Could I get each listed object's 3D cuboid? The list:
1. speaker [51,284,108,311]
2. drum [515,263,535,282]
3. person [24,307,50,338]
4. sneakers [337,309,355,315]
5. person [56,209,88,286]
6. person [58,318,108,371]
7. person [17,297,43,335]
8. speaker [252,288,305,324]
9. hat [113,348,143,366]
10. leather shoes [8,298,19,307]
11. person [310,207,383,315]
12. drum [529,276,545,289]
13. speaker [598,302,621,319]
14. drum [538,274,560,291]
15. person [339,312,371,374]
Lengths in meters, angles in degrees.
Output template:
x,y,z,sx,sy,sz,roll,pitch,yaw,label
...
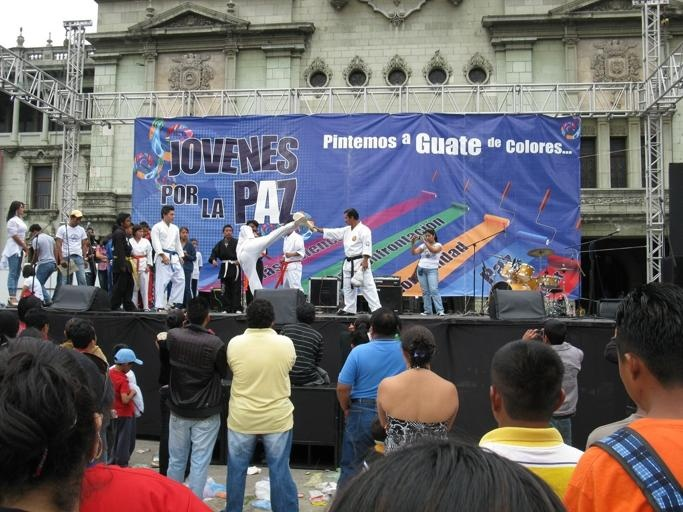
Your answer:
x,y,z,sx,sy,sz,roll,pitch,yaw,label
-5.838,0.978,23.585,1.259,0.583,0.476,2,-2,-14,speaker
4.579,0.458,26.458,0.392,0.426,0.280,1,-2,17,drum
-5.777,1.301,19.845,0.455,0.584,0.936,2,-2,-17,person
0.089,1.337,24.427,0.422,0.165,0.141,-2,6,3,sneakers
-6.616,0.022,26.073,0.829,2.281,0.622,2,13,-7,person
-4.880,1.735,19.849,1.041,0.993,0.594,8,25,8,person
-6.167,1.164,20.699,0.639,0.898,0.874,1,4,-16,person
-1.276,1.152,23.169,1.083,0.941,0.616,2,10,27,speaker
-4.128,2.050,20.653,0.600,0.339,0.367,4,3,-24,hat
-7.719,1.124,24.754,0.178,0.205,0.519,4,-7,-45,leather shoes
0.271,0.137,25.445,1.150,2.458,0.583,0,-2,39,person
4.856,0.696,26.410,0.286,0.215,0.291,-1,0,0,drum
5.669,1.178,22.337,0.262,0.461,0.666,9,-7,-26,speaker
5.189,0.685,26.673,0.438,0.184,0.486,3,-9,-4,drum
0.297,1.637,21.456,0.731,1.283,0.674,1,2,33,person
